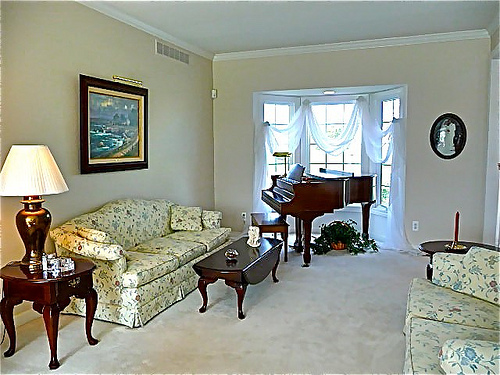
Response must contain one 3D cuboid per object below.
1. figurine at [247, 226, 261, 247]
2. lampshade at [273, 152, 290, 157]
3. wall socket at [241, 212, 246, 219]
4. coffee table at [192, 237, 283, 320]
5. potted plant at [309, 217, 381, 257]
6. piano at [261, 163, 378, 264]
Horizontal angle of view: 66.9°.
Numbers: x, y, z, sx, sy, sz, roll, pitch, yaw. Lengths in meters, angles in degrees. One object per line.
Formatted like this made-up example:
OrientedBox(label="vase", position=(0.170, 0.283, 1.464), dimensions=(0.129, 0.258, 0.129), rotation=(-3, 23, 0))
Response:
OrientedBox(label="figurine", position=(0.054, 0.614, 4.788), dimensions=(0.228, 0.328, 0.074), rotation=(0, -4, 15))
OrientedBox(label="lampshade", position=(0.613, -0.598, 6.788), dimensions=(0.305, 0.104, 0.290), rotation=(-8, 13, -35))
OrientedBox(label="wall socket", position=(-0.113, 0.489, 6.933), dimensions=(0.067, 0.068, 0.048), rotation=(-2, -6, 26))
OrientedBox(label="coffee table", position=(-0.120, 0.980, 4.427), dimensions=(0.592, 0.594, 1.101), rotation=(5, 12, 26))
OrientedBox(label="potted plant", position=(1.507, 0.848, 6.220), dimensions=(0.786, 0.335, 0.797), rotation=(0, 0, -4))
OrientedBox(label="piano", position=(1.064, 0.328, 5.948), dimensions=(1.875, 1.288, 1.699), rotation=(-2, 7, 10))
